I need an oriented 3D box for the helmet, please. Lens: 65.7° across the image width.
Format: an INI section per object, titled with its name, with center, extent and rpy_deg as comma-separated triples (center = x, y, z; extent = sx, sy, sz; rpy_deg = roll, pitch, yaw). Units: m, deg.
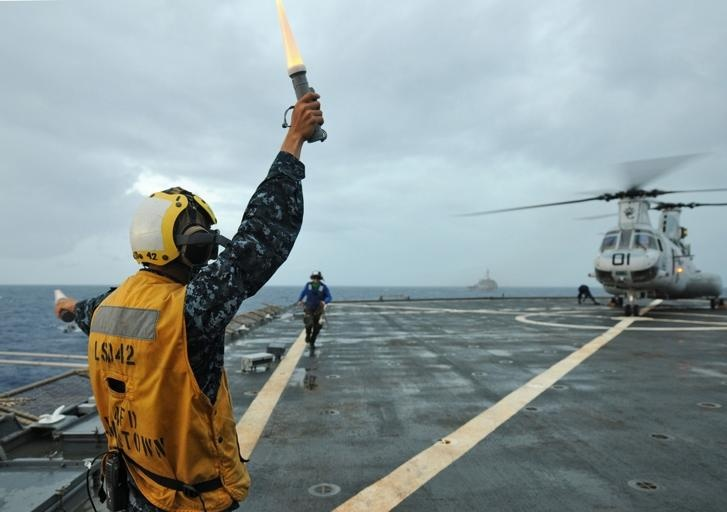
[helmet]
center = -1.654, -0.203, 4.816
extent = 0.622, 0.543, 0.464
rpy_deg = 17, -25, -39
